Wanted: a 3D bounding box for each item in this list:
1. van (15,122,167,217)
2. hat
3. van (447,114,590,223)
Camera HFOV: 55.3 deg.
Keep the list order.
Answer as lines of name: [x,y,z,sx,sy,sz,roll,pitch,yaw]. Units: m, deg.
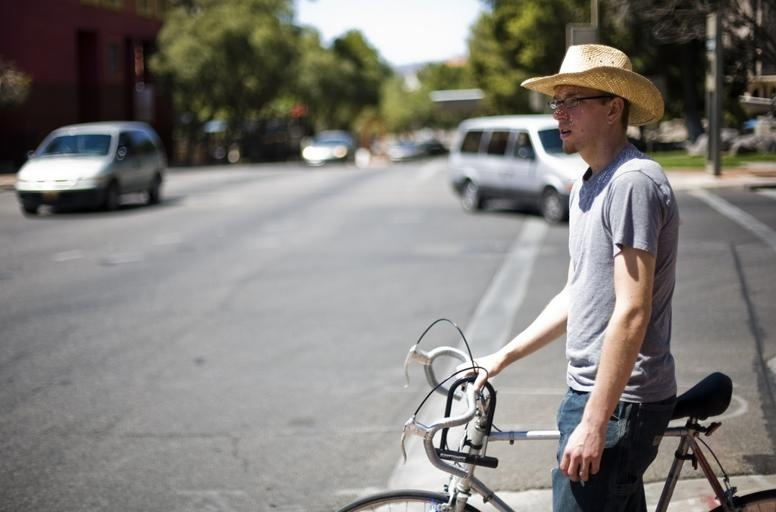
van: [-7.274,-2.137,18.491,1.826,1.726,3.678,0,4,10]
hat: [1.081,-0.757,3.636,0.478,0.200,0.447,23,-11,-15]
van: [3.431,-2.241,18.005,1.848,1.766,3.379,-3,8,-33]
